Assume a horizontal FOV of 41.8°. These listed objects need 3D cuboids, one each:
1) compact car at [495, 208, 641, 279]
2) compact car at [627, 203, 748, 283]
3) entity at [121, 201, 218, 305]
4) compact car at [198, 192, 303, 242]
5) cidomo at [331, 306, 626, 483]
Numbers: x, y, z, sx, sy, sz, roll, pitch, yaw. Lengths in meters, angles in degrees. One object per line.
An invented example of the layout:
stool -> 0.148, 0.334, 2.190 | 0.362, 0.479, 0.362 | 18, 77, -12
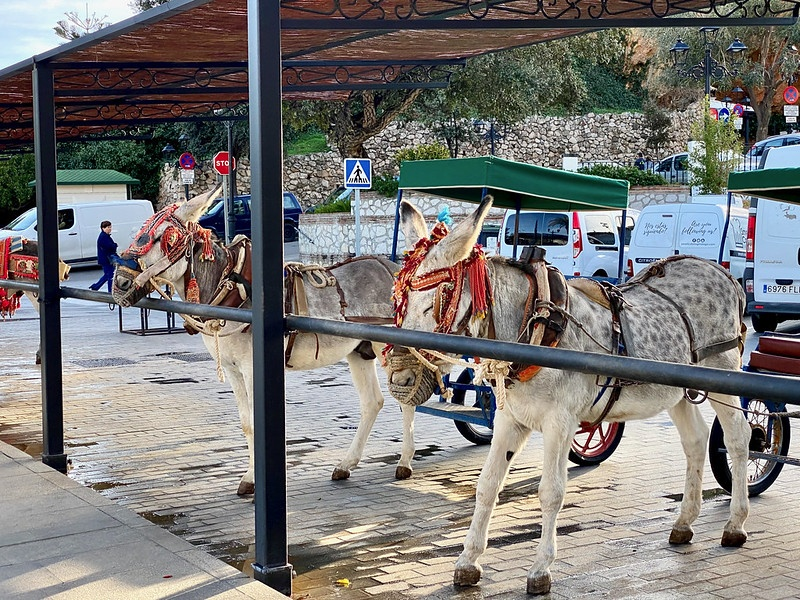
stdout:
compact car -> 3.969, -1.324, 22.853 | 1.907, 1.460, 2.813 | 3, 10, 31
compact car -> 5.564, -1.142, 21.030 | 2.590, 1.377, 1.480 | 5, 3, 15
entity -> -2.286, -0.416, 9.499 | 1.041, 0.789, 0.641 | -16, 8, -42
compact car -> -5.718, -2.909, 37.569 | 4.388, 1.820, 1.963 | -8, 10, -23
cidomo -> 0.910, 0.991, 10.696 | 2.544, 1.881, 1.580 | 7, -3, -12
